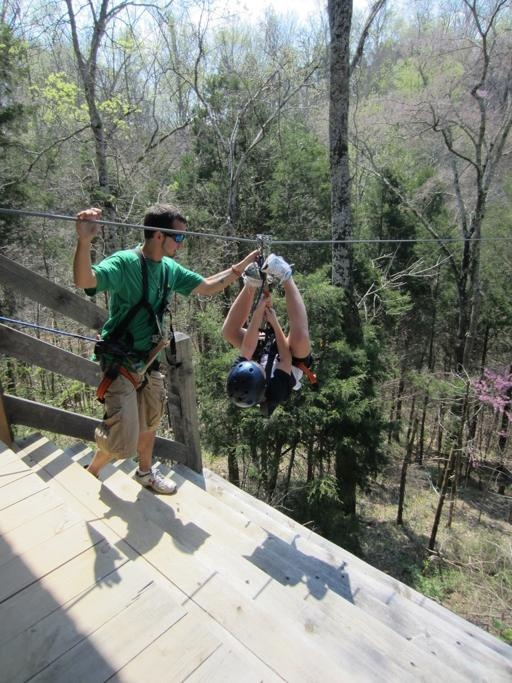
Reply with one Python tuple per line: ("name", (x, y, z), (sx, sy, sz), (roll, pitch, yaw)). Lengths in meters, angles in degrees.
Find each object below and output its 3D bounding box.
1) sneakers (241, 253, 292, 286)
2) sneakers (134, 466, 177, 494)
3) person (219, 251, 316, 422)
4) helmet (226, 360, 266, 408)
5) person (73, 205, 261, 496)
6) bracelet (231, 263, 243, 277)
("sneakers", (0.076, -0.515, 3.279), (0.284, 0.137, 0.234), (-6, -18, 8))
("sneakers", (-0.729, 0.983, 3.382), (0.291, 0.114, 0.144), (25, 8, -3))
("person", (0.022, -0.025, 3.450), (0.598, 1.099, 0.785), (-2, 0, 43))
("helmet", (-0.063, 0.267, 3.198), (0.242, 0.311, 0.296), (7, -1, 2))
("person", (-0.733, 0.116, 3.115), (0.664, 1.987, 1.261), (7, 10, 8))
("bracelet", (-0.151, -0.553, 3.669), (0.089, 0.024, 0.085), (40, 21, -44))
